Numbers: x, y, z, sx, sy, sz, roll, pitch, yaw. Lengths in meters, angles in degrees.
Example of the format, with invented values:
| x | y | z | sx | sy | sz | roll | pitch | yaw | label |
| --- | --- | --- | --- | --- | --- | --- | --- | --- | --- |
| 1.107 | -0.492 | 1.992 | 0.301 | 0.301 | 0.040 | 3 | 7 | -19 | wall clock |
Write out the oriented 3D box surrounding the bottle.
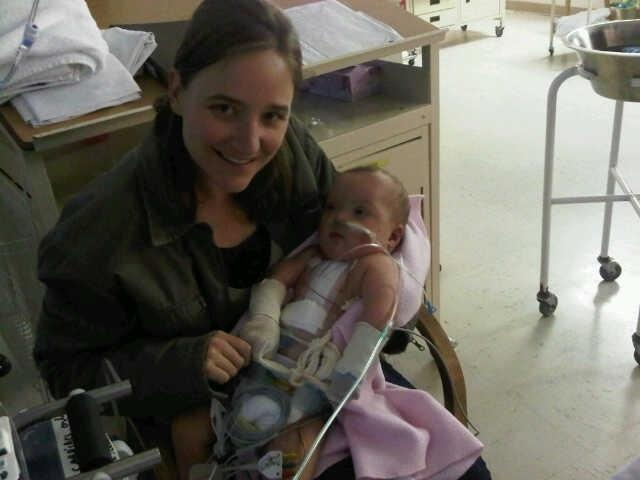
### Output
| x | y | z | sx | sy | sz | roll | pitch | yaw | label |
| --- | --- | --- | --- | --- | --- | --- | --- | --- | --- |
| -0.293 | 0.240 | 0.663 | 0.036 | 0.054 | 0.106 | -19 | 24 | -25 | bottle |

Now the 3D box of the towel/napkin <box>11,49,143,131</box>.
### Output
| x | y | z | sx | sy | sz | roll | pitch | yaw | label |
| --- | --- | --- | --- | --- | --- | --- | --- | --- | --- |
| -0.657 | -0.406 | 1.468 | 0.242 | 0.069 | 0.242 | -22 | 54 | -15 | towel/napkin |

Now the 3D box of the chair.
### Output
| x | y | z | sx | sy | sz | roll | pitch | yaw | label |
| --- | --- | --- | --- | --- | --- | --- | --- | --- | --- |
| 0.378 | 0.401 | 1.652 | 0.115 | 0.392 | 0.271 | -16 | -19 | 3 | chair |
